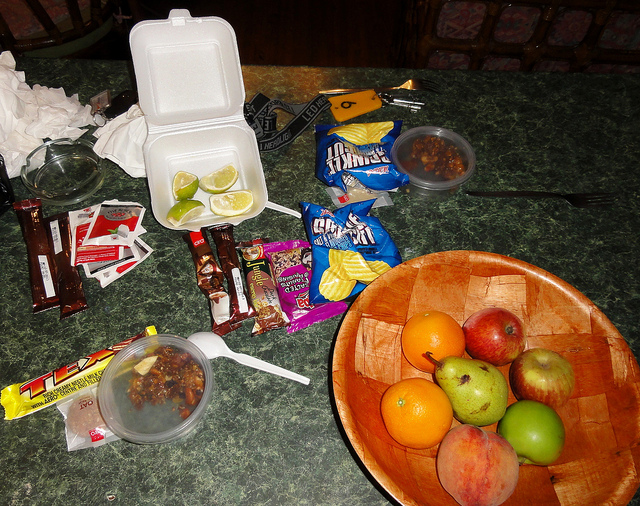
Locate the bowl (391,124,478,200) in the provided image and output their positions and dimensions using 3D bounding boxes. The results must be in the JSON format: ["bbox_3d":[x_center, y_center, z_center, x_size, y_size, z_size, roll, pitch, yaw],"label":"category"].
[{"bbox_3d":[0.341,-0.294,1.590,0.253,0.087,0.240,3,56,-5],"label":"bowl"}]

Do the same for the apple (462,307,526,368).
[{"bbox_3d":[0.407,0.191,1.259,0.144,0.139,0.137,21,87,24],"label":"apple"}]

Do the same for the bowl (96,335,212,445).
[{"bbox_3d":[-0.393,0.327,1.244,0.257,0.083,0.247,2,57,-3],"label":"bowl"}]

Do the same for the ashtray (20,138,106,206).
[{"bbox_3d":[-0.764,-0.248,1.545,0.226,0.044,0.248,-24,62,-18],"label":"ashtray"}]

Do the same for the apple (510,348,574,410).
[{"bbox_3d":[0.520,0.298,1.226,0.156,0.145,0.145,2,47,12],"label":"apple"}]

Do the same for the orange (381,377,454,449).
[{"bbox_3d":[0.212,0.348,1.131,0.157,0.100,0.134,12,58,4],"label":"orange"}]

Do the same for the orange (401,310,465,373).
[{"bbox_3d":[0.255,0.192,1.239,0.142,0.142,0.130,-32,87,9],"label":"orange"}]

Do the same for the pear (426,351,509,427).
[{"bbox_3d":[0.352,0.317,1.216,0.120,0.208,0.118,-8,88,-17],"label":"pear"}]

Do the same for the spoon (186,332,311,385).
[{"bbox_3d":[-0.182,0.270,1.294,0.326,0.032,0.061,20,58,9],"label":"spoon"}]
